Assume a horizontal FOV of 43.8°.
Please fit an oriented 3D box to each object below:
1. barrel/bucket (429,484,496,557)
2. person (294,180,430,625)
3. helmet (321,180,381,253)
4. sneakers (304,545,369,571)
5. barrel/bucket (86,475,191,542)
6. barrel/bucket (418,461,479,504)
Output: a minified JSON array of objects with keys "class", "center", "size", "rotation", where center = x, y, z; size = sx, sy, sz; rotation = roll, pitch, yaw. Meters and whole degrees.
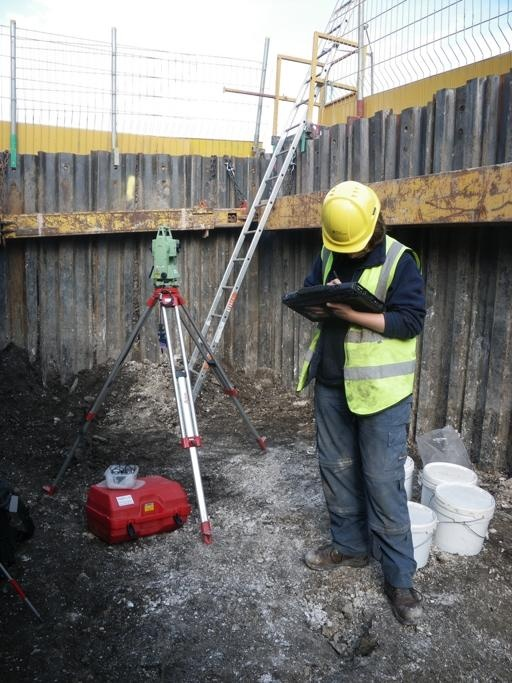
[{"class":"barrel/bucket","center":[1.132,0.978,3.495],"size":[0.292,0.306,0.303],"rotation":[2,14,0]},{"class":"person","center":[0.512,0.257,3.038],"size":[0.467,1.986,0.785],"rotation":[-7,13,-28]},{"class":"helmet","center":[0.433,-0.566,2.945],"size":[0.257,0.334,0.213],"rotation":[3,12,19]},{"class":"sneakers","center":[0.434,1.121,3.412],"size":[0.330,0.152,0.135],"rotation":[3,10,9]},{"class":"barrel/bucket","center":[-0.704,1.001,3.809],"size":[0.524,0.313,0.432],"rotation":[0,2,-45]},{"class":"barrel/bucket","center":[1.136,0.810,3.797],"size":[0.238,0.256,0.248],"rotation":[0,12,0]}]
